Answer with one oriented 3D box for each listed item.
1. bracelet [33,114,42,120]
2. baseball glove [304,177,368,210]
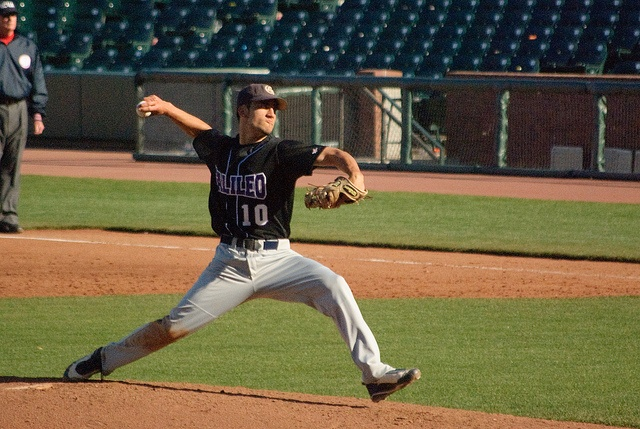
[{"bbox_3d":[-4.706,-1.635,20.773,0.106,0.101,0.106,1,3,-17],"label":"bracelet"},{"bbox_3d":[0.167,-0.266,16.658,0.630,0.334,0.464,-4,1,-14],"label":"baseball glove"}]
